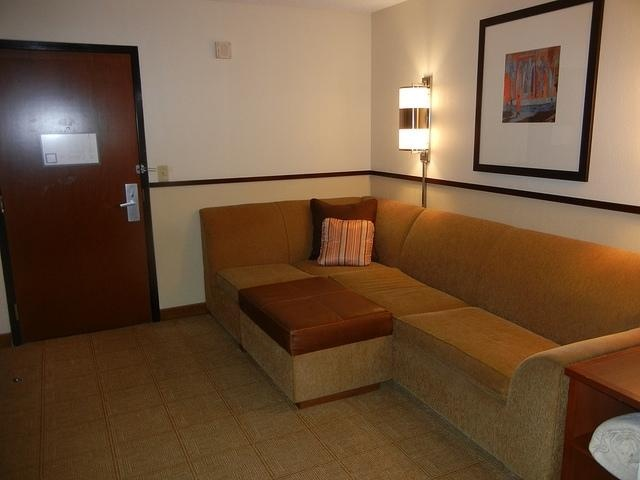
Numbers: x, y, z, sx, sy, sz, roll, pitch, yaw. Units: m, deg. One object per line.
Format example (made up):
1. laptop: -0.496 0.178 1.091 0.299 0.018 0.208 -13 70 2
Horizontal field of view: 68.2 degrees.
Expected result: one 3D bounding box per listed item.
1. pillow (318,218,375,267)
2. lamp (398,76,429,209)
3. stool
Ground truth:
1. pillow: 0.232 0.036 4.153 0.423 0.442 0.120 2 -5 10
2. lamp: 0.878 -0.876 4.337 0.307 1.165 0.251 -5 15 -13
3. stool: 0.012 0.667 3.285 0.669 0.504 0.947 -5 11 -25
